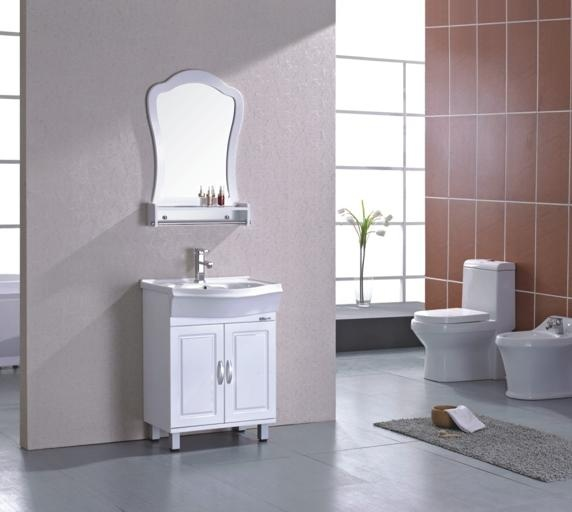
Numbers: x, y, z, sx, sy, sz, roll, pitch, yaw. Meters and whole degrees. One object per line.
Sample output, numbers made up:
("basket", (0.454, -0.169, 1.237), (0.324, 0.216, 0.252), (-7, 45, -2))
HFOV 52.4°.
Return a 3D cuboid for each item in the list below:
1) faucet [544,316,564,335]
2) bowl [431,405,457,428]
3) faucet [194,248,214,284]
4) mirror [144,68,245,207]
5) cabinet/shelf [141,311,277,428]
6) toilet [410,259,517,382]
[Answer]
("faucet", (1.995, 0.515, 4.311), (0.108, 0.149, 0.101), (1, -3, -40))
("bowl", (0.940, 0.947, 3.440), (0.113, 0.079, 0.108), (-1, 3, 0))
("faucet", (-0.475, 0.055, 3.351), (0.107, 0.197, 0.283), (0, 0, -7))
("mirror", (-0.532, -0.665, 3.339), (0.535, 0.804, 0.028), (-1, -18, -9))
("cabinet/shelf", (-0.383, 0.622, 3.221), (0.585, 0.601, 0.358), (0, 0, -21))
("toilet", (1.493, 0.543, 4.856), (0.828, 0.998, 0.366), (0, 0, -23))
